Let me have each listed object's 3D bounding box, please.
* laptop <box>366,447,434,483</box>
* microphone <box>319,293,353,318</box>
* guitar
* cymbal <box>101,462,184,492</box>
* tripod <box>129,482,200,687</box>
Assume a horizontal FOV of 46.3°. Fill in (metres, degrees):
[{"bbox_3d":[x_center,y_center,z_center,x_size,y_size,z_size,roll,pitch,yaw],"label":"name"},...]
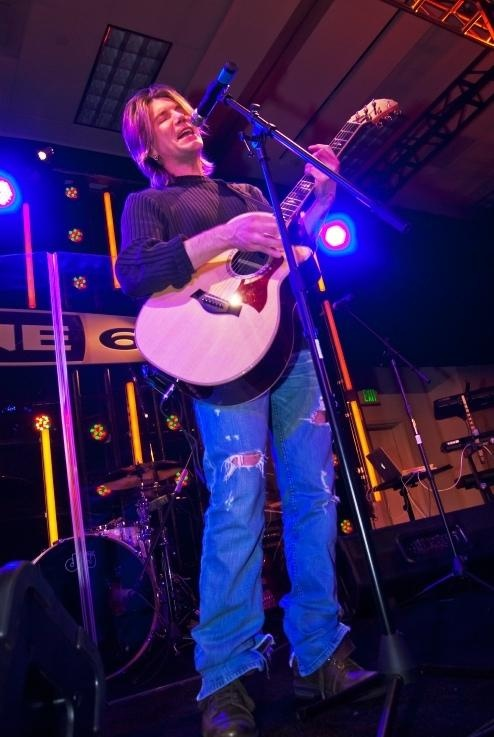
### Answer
[{"bbox_3d":[1.204,0.738,4.745,0.535,0.292,0.406,1,0,-21],"label":"laptop"},{"bbox_3d":[0.783,-0.594,5.257,0.162,0.185,0.552,-19,5,-20],"label":"microphone"},{"bbox_3d":[-0.021,-0.132,1.868,0.689,1.090,0.667,-2,7,-39],"label":"guitar"},{"bbox_3d":[-0.585,0.619,3.218,0.257,0.061,0.260,-25,-42,10],"label":"cymbal"},{"bbox_3d":[-0.423,1.119,3.100,0.388,0.921,0.405,0,1,-13],"label":"tripod"}]
